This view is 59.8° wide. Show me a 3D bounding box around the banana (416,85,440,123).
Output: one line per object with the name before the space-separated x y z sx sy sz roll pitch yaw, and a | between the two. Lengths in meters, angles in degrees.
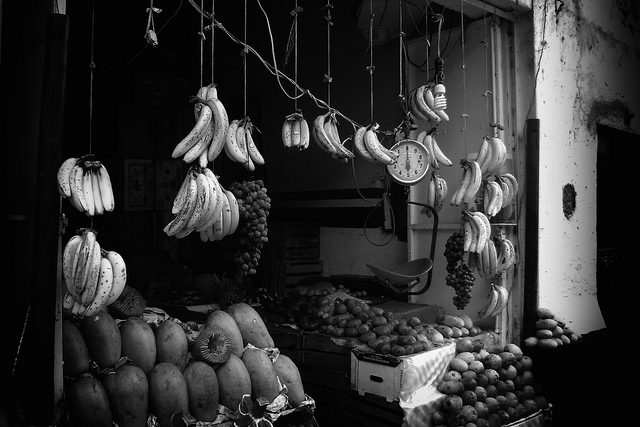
banana | 0.795 -0.815 4.242 0.086 0.242 0.172 -31 17 -14

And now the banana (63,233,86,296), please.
banana | -1.387 0.286 3.137 0.069 0.331 0.114 -1 4 -34

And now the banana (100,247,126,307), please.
banana | -1.187 0.363 3.224 0.101 0.332 0.103 3 18 26

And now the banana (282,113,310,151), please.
banana | -0.184 -0.617 3.921 0.159 0.095 0.252 -17 35 15

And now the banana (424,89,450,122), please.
banana | 0.894 -0.826 4.219 0.214 0.215 0.078 -1 4 -32

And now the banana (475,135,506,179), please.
banana | 1.423 -0.454 4.618 0.100 0.332 0.179 -24 31 0

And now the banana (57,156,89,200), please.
banana | -1.425 -0.202 3.135 0.093 0.210 0.122 1 4 -3

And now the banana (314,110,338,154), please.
banana | 0.037 -0.561 3.900 0.085 0.209 0.365 2 31 -15
